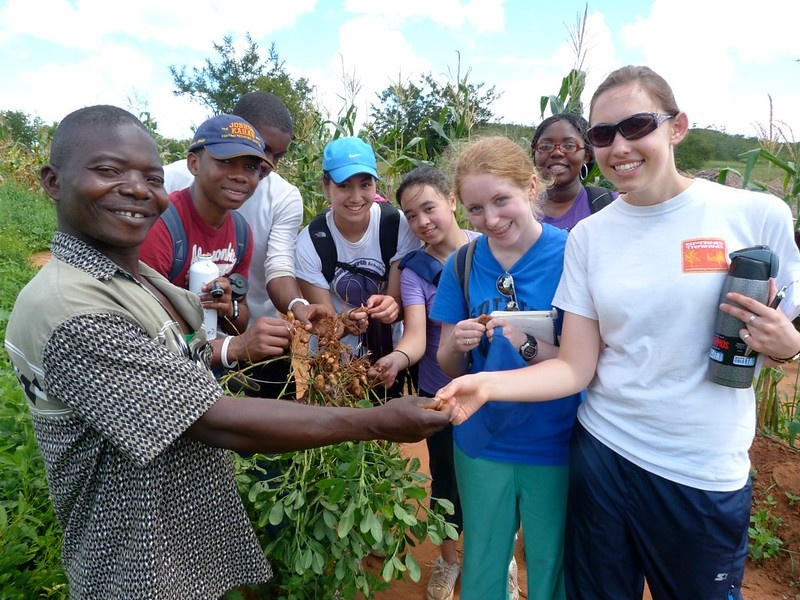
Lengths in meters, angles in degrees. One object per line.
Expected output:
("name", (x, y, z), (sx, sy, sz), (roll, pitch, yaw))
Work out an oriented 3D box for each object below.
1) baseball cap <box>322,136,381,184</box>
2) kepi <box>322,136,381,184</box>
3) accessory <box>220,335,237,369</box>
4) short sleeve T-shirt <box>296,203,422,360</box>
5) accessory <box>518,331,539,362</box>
("baseball cap", (-0.363, -0.986, 3.673), (0.308, 0.212, 0.411), (-6, 17, -21))
("kepi", (-0.372, -0.987, 3.682), (0.308, 0.212, 0.411), (-6, 17, -21))
("accessory", (-0.993, 0.295, 2.982), (0.047, 0.149, 0.131), (0, 2, -10))
("short sleeve T-shirt", (-0.287, -0.126, 3.588), (1.055, 0.999, 0.540), (-6, 6, -9))
("accessory", (0.650, 0.242, 2.752), (0.100, 0.138, 0.127), (12, -1, -17))
